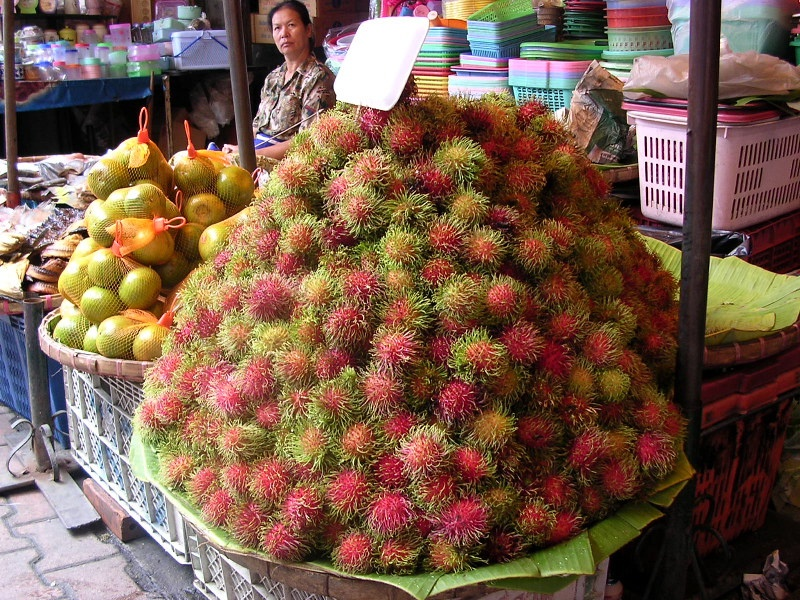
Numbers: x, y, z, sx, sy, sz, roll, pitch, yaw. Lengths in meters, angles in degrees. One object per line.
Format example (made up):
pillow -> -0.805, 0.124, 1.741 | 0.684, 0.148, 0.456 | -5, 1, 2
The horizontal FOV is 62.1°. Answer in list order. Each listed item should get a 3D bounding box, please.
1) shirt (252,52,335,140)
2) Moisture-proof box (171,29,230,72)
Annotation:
shirt -> -0.602, -1.133, 3.783 | 0.588, 0.522, 0.310 | 17, 14, 42
Moisture-proof box -> -1.579, -2.012, 5.528 | 0.484, 0.349, 0.319 | -7, -12, -8
